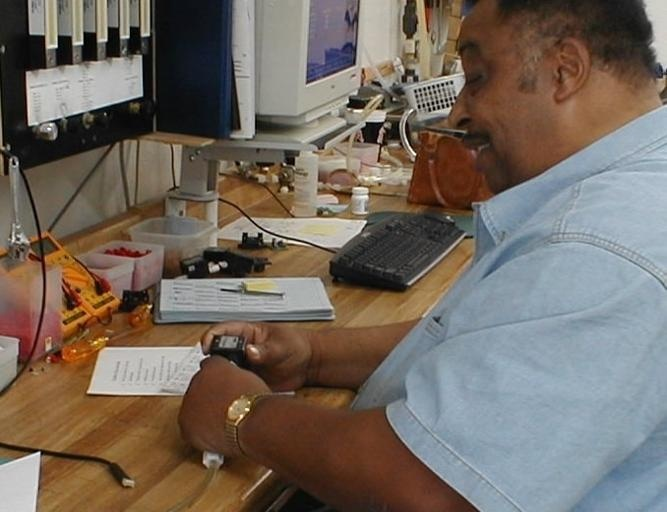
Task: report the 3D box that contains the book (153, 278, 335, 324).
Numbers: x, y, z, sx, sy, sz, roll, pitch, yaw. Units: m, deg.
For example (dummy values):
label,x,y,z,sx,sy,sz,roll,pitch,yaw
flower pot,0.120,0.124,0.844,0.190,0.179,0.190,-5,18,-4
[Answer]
label,x,y,z,sx,sy,sz,roll,pitch,yaw
book,-0.222,0.107,1.326,0.246,0.026,0.177,-1,21,-10

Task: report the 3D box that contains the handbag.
label,x,y,z,sx,sy,sz,roll,pitch,yaw
handbag,0.456,-0.351,2.094,0.314,0.288,0.125,7,19,29
